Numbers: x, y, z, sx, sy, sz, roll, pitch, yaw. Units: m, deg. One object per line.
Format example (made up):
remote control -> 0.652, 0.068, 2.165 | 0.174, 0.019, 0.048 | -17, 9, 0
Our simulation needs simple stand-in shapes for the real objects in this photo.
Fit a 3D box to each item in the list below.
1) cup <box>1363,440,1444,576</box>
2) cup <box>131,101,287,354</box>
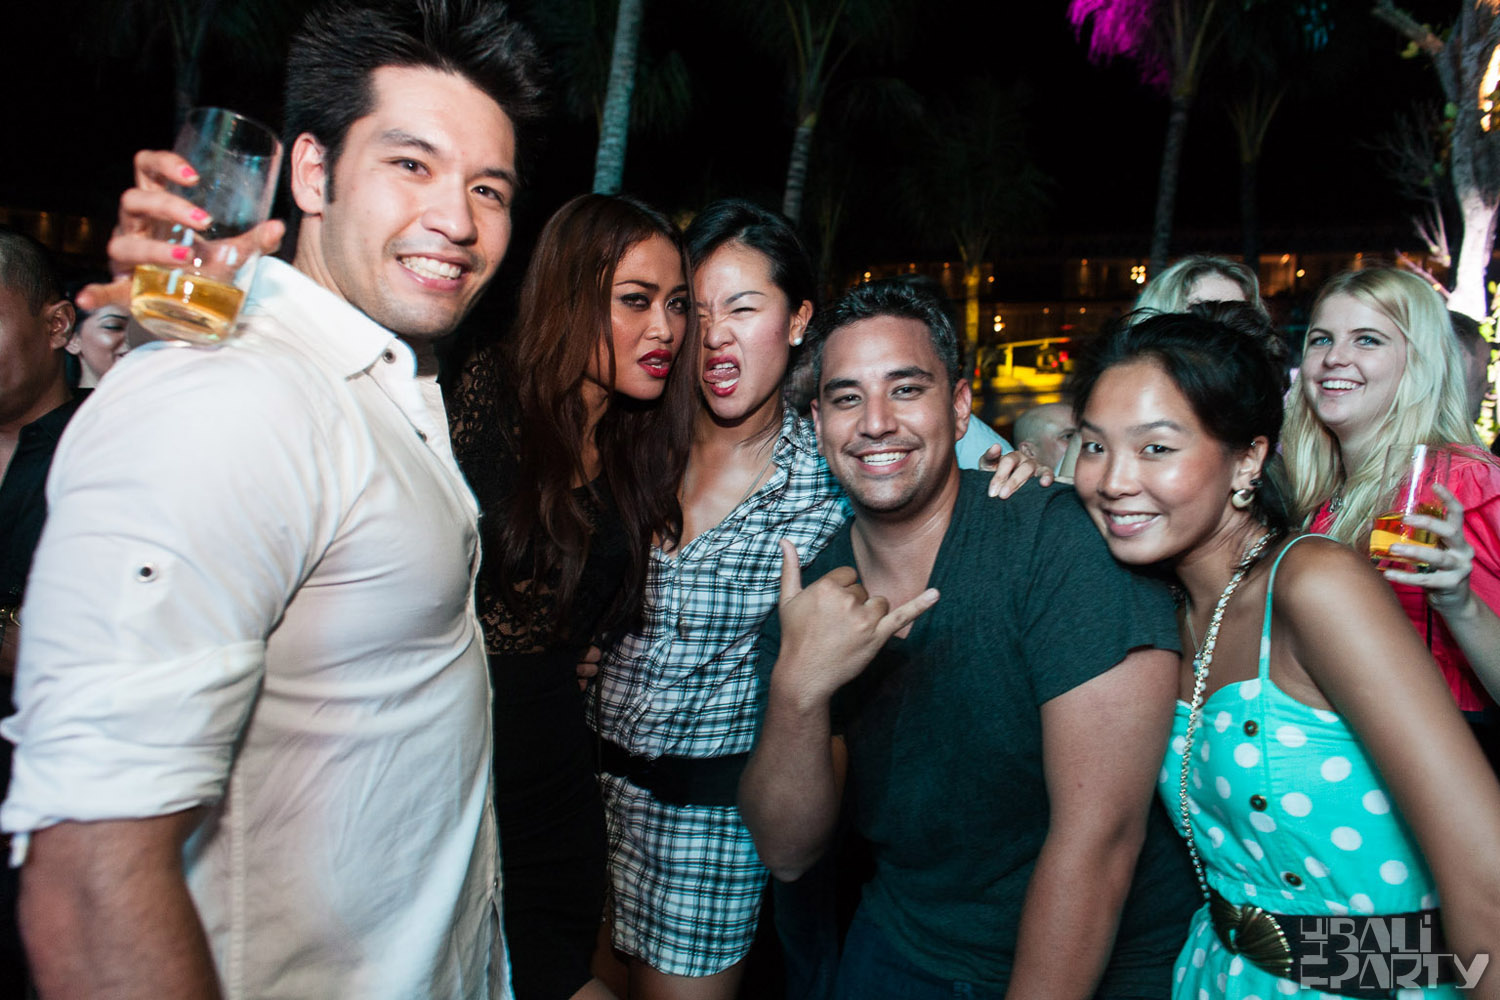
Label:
cup -> 1.897, 0.010, 3.125 | 0.167, 0.356, 0.160 | 4, 5, 0
cup -> -1.099, -0.574, 2.207 | 0.265, 0.491, 0.225 | 2, 6, -29
